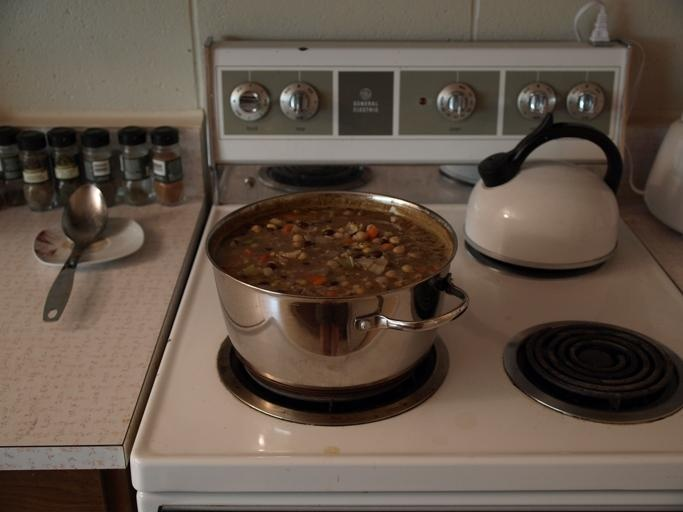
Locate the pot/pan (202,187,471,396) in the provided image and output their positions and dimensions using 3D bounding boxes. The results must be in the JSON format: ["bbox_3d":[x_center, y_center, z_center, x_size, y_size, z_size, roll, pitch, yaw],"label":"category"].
[{"bbox_3d":[-0.026,0.052,0.895,0.391,0.164,0.323,11,32,19],"label":"pot/pan"}]

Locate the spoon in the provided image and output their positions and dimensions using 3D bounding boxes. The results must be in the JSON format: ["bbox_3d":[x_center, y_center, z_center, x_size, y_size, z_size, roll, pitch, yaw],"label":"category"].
[{"bbox_3d":[-0.536,-0.015,1.145,0.078,0.043,0.320,-6,44,3],"label":"spoon"}]

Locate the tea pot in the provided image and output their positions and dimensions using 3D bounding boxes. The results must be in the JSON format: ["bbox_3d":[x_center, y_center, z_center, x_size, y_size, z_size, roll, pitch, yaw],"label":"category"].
[{"bbox_3d":[0.378,-0.125,1.244,0.303,0.295,0.312,0,30,0],"label":"tea pot"}]

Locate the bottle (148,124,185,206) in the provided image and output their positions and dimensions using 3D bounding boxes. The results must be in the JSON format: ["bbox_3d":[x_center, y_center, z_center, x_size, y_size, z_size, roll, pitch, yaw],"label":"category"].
[{"bbox_3d":[-0.417,-0.222,1.393,0.078,0.179,0.120,-10,26,-17],"label":"bottle"}]

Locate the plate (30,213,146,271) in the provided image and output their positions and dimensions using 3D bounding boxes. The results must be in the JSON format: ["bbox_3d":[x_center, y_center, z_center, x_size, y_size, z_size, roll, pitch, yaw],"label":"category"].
[{"bbox_3d":[-0.522,-0.021,1.205,0.158,0.031,0.122,-18,41,-12],"label":"plate"}]
